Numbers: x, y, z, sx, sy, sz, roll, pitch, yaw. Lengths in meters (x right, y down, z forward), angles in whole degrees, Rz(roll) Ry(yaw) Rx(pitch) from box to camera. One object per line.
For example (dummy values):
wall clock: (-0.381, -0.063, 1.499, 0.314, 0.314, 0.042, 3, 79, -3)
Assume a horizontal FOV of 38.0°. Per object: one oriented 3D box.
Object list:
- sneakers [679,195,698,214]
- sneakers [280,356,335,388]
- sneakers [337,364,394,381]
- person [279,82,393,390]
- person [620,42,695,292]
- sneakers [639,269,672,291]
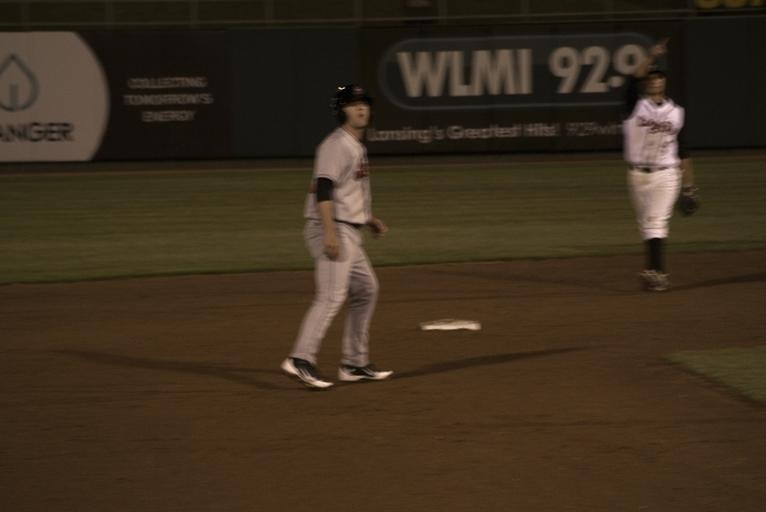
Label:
sneakers: (3.930, -0.672, 14.417, 0.330, 0.254, 0.342, 1, 9, 10)
sneakers: (-0.782, 1.194, 11.493, 0.671, 0.240, 0.219, 26, 3, -7)
sneakers: (-0.177, 1.234, 11.740, 0.644, 0.196, 0.183, -1, 2, -8)
person: (-0.461, -0.194, 11.486, 1.105, 3.142, 0.605, -1, 11, -15)
person: (3.429, -1.010, 13.833, 0.937, 2.939, 0.556, -2, 11, -20)
sneakers: (3.411, 0.307, 14.042, 0.345, 0.098, 0.315, 0, 38, 6)
